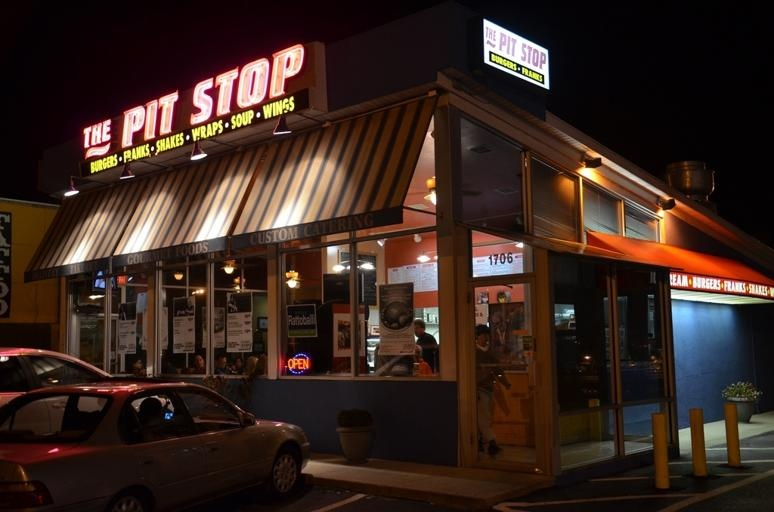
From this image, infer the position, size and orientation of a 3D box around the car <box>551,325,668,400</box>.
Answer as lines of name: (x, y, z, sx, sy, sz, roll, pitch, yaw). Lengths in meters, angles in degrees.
car: (4.773, 2.310, 15.887, 3.645, 1.937, 0.632, -7, 13, -38)

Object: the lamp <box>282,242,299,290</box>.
lamp: (-2.207, 0.357, 17.471, 0.187, 0.797, 0.499, -10, 14, -44)

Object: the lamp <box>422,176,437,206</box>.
lamp: (0.935, -1.381, 15.762, 0.261, 0.587, 0.504, 0, 10, 1)

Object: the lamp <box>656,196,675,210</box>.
lamp: (8.309, -1.554, 22.074, 0.701, 0.399, 0.348, -6, 12, -31)

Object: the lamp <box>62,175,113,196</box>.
lamp: (-8.805, -2.085, 21.993, 0.537, 0.517, 1.363, -5, -2, 27)

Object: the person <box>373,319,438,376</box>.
person: (0.473, 1.943, 15.716, 1.353, 1.220, 0.367, 3, 11, 17)

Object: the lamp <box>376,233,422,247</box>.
lamp: (0.289, -0.348, 16.209, 1.031, 0.348, 0.128, 4, 11, 18)

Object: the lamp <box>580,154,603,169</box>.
lamp: (5.214, -2.389, 18.886, 0.356, 0.235, 0.384, -2, 5, -18)

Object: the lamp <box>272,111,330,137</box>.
lamp: (-1.985, -3.043, 17.172, 1.310, 0.460, 0.845, 3, 10, 13)

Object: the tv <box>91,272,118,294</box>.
tv: (-8.174, 0.783, 21.572, 1.333, 0.635, 0.111, 8, 13, 38)

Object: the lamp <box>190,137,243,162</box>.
lamp: (-4.462, -2.647, 18.837, 1.088, 0.444, 0.446, -2, -1, -43)

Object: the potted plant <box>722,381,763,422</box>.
potted plant: (10.450, 4.324, 21.972, 1.133, 1.045, 1.088, 3, -16, -8)

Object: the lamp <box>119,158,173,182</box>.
lamp: (-6.490, -2.393, 20.415, 1.310, 0.555, 1.532, -1, 10, -6)

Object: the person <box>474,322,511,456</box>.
person: (2.017, 2.687, 15.027, 0.786, 2.515, 0.571, 9, 13, 40)
